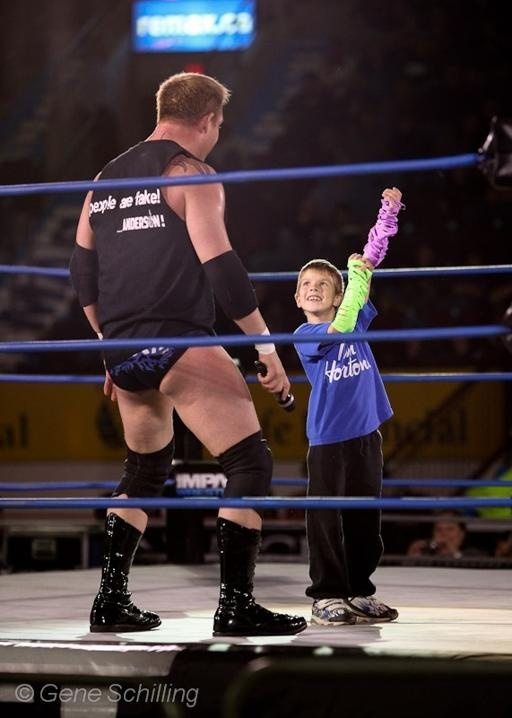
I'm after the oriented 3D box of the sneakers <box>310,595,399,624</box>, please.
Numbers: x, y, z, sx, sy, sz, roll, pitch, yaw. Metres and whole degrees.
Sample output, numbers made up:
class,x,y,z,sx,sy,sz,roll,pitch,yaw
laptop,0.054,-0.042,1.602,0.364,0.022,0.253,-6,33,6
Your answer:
class,x,y,z,sx,sy,sz,roll,pitch,yaw
sneakers,0.255,0.643,2.351,0.237,0.078,0.076,-1,-4,-9
